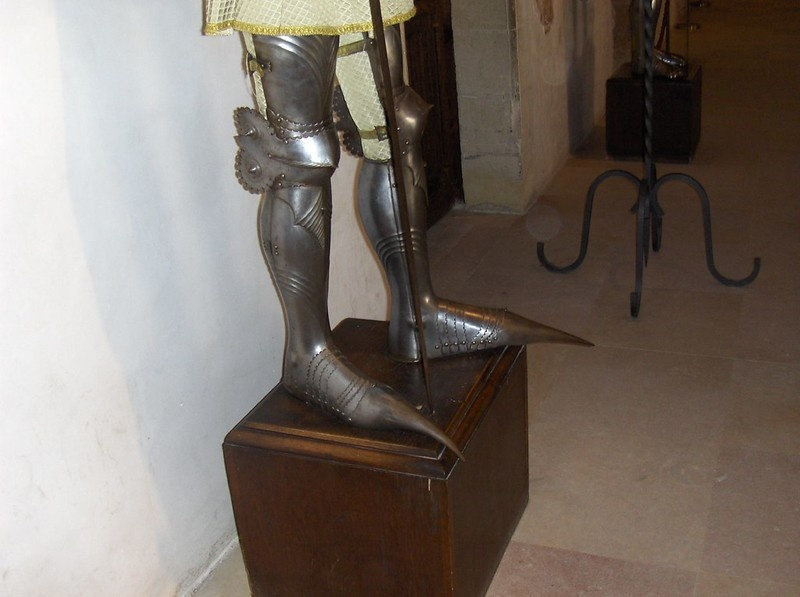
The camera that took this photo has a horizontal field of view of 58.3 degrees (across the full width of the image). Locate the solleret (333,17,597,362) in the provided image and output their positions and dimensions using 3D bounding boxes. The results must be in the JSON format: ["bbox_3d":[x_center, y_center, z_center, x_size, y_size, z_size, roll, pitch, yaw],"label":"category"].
[{"bbox_3d":[0.096,-0.316,1.649,0.450,0.969,0.164,-6,22,5],"label":"solleret"}]
